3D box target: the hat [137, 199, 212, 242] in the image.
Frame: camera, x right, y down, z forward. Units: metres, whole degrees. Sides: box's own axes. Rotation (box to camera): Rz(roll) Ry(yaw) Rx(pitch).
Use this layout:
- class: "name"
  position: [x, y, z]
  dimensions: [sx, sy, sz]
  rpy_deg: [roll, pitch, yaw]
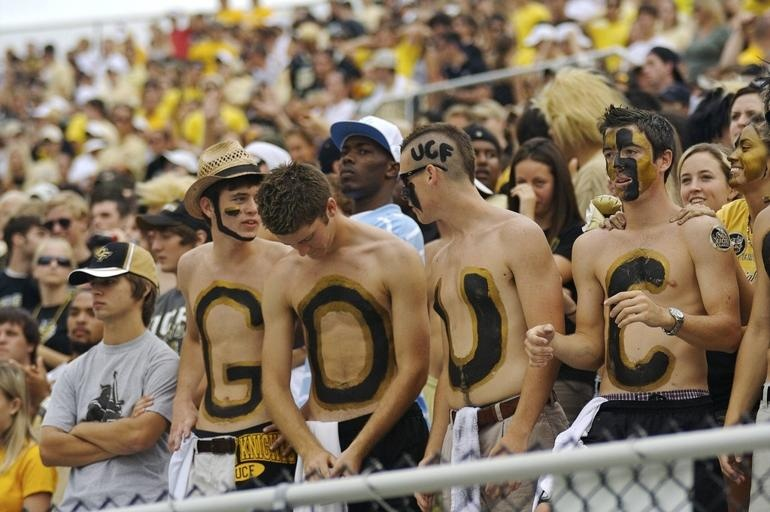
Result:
- class: "hat"
  position: [-2.132, -0.366, 18.504]
  dimensions: [0.703, 0.373, 0.419]
  rpy_deg: [12, -6, -21]

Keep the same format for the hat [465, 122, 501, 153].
- class: "hat"
  position: [0.993, -1.286, 19.218]
  dimensions: [0.309, 0.297, 0.616]
  rpy_deg: [-5, -1, 34]

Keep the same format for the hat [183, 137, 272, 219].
- class: "hat"
  position: [-1.520, -0.832, 17.062]
  dimensions: [0.714, 0.397, 0.763]
  rpy_deg: [-25, -8, -32]

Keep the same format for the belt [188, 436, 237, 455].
- class: "belt"
  position: [-1.529, 1.761, 16.645]
  dimensions: [0.406, 0.160, 0.061]
  rpy_deg: [-5, 0, 25]

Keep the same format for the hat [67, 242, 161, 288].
- class: "hat"
  position: [-2.560, 0.088, 17.470]
  dimensions: [0.683, 0.335, 0.462]
  rpy_deg: [9, -10, -15]

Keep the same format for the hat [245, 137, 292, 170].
- class: "hat"
  position: [-1.192, -1.102, 19.169]
  dimensions: [0.400, 0.307, 0.513]
  rpy_deg: [31, 4, 14]

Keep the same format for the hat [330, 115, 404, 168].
- class: "hat"
  position: [-0.188, -1.147, 17.728]
  dimensions: [1.081, 0.460, 0.635]
  rpy_deg: [-3, 15, -9]

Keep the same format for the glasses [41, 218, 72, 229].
- class: "glasses"
  position: [-3.669, -0.381, 20.659]
  dimensions: [0.383, 0.124, 0.121]
  rpy_deg: [-5, 0, 44]

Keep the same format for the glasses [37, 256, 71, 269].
- class: "glasses"
  position: [-3.572, 0.050, 20.006]
  dimensions: [0.355, 0.129, 0.089]
  rpy_deg: [-5, -1, -12]
